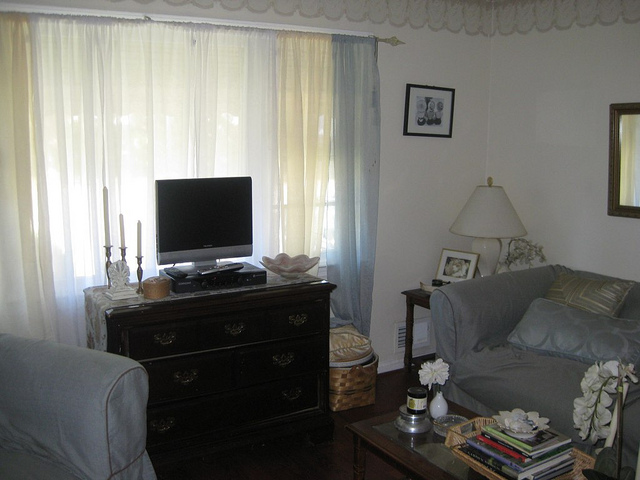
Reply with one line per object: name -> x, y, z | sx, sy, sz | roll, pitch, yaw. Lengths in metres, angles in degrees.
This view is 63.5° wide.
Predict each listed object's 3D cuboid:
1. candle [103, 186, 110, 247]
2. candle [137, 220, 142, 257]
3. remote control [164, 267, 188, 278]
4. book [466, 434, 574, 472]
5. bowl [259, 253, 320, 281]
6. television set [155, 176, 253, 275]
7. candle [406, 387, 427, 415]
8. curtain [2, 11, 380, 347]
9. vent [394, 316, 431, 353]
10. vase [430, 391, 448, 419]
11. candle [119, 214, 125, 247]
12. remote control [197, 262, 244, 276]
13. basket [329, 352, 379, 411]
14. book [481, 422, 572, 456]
candle -> -1.243, -0.137, 3.007 | 0.037, 0.334, 0.153 | -6, 12, -23
candle -> -1.068, -0.004, 3.055 | 0.028, 0.207, 0.036 | -5, 12, -19
remote control -> -0.870, 0.194, 3.114 | 0.064, 0.027, 0.126 | -2, 12, -34
book -> 0.791, 0.909, 2.192 | 0.179, 0.023, 0.176 | -5, 13, -34
bowl -> -0.201, 0.164, 3.469 | 0.301, 0.140, 0.309 | -1, 12, 0
television set -> -0.734, -0.094, 3.210 | 0.529, 0.520, 0.228 | -5, 6, -32
candle -> 0.465, 0.777, 2.546 | 0.100, 0.118, 0.105 | -2, 12, -9
curtain -> -0.907, -0.426, 3.306 | 2.170, 2.045, 0.251 | -3, 7, -27
vent -> 0.771, 0.796, 4.387 | 0.317, 0.245, 0.023 | -5, 15, -38
vase -> 0.580, 0.808, 2.544 | 0.100, 0.158, 0.107 | 1, -4, -2
candle -> -1.142, -0.057, 2.980 | 0.023, 0.186, 0.072 | -6, 12, -23
remote control -> -0.619, 0.184, 3.207 | 0.156, 0.034, 0.335 | 8, 15, 35
basket -> 0.224, 1.020, 3.741 | 0.336, 0.276, 0.284 | -1, 0, -29
book -> 0.926, 0.879, 2.324 | 0.304, 0.035, 0.334 | -3, -1, -31
